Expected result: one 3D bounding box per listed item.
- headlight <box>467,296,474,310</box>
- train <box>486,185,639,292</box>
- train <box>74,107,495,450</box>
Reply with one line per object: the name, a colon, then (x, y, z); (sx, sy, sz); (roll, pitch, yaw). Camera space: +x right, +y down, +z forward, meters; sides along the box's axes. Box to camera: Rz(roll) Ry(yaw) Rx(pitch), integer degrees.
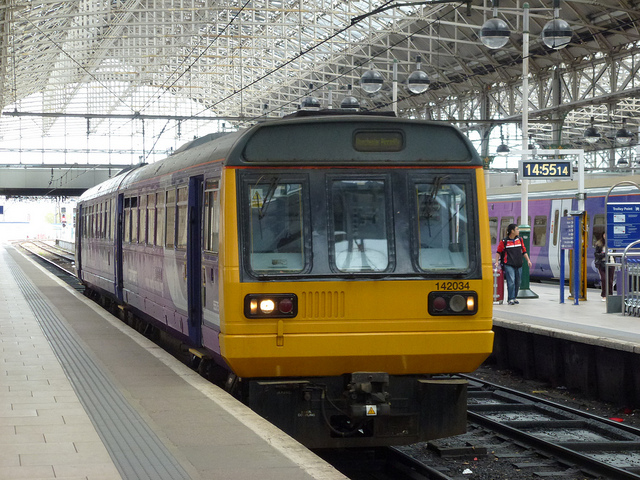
headlight: (1.741, 0.734, 7.230); (0.074, 0.146, 0.033); (0, 3, 2)
train: (9.249, -0.441, 27.135); (3.114, 4.283, 12.359); (-1, 5, -17)
train: (-2.322, 0.276, 14.195); (3.037, 4.187, 15.940); (1, 1, -21)
